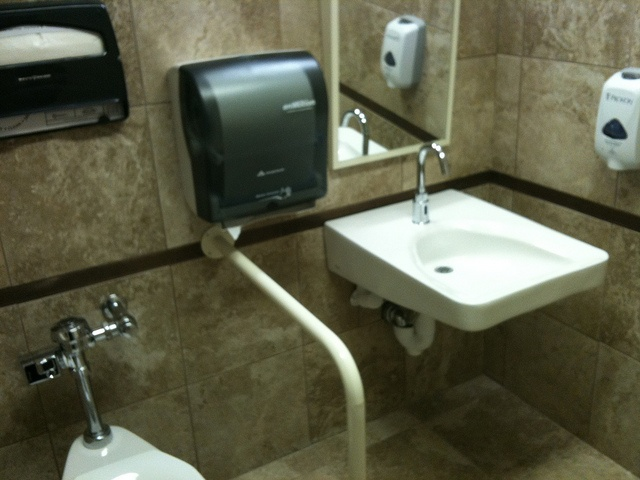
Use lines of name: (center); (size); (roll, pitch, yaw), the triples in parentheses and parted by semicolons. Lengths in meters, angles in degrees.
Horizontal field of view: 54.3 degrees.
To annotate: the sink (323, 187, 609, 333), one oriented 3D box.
sink: (0.447, 0.054, 2.113); (0.539, 0.210, 0.603); (-20, 35, -28)
